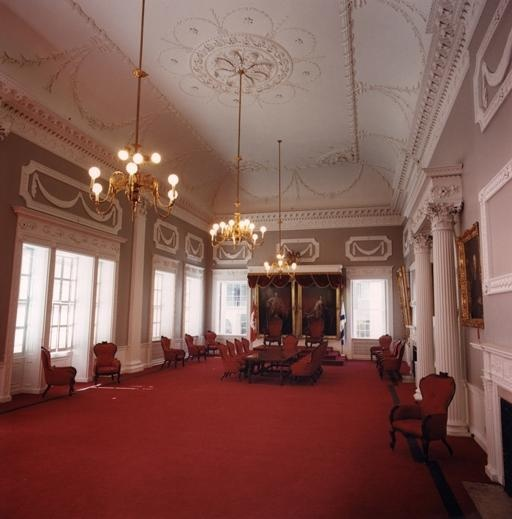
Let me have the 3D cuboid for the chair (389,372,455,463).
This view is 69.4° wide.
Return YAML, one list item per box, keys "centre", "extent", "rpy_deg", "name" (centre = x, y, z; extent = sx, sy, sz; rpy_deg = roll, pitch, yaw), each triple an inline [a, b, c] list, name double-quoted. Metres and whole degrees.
- centre: [2.042, 1.899, 4.592]
  extent: [0.674, 1.088, 0.790]
  rpy_deg: [2, -10, 14]
  name: "chair"

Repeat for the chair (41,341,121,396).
- centre: [-3.550, 2.236, 7.643]
  extent: [1.314, 1.107, 0.850]
  rpy_deg: [-1, -4, -7]
  name: "chair"
